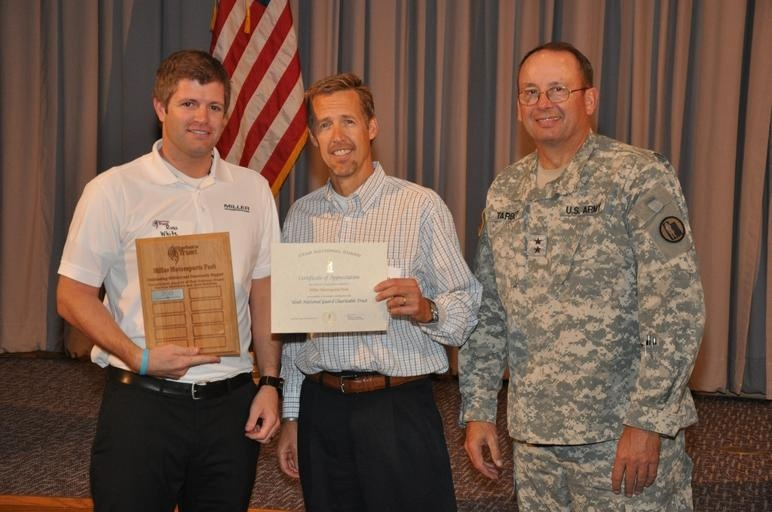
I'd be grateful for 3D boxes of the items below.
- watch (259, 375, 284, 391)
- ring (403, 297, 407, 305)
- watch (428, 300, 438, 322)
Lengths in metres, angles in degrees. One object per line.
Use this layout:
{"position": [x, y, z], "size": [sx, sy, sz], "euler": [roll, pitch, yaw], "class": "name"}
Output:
{"position": [-0.555, 0.605, 3.431], "size": [0.100, 0.067, 0.105], "euler": [0, -26, 10], "class": "watch"}
{"position": [0.085, 0.208, 3.182], "size": [0.022, 0.024, 0.019], "euler": [-2, 0, -9], "class": "ring"}
{"position": [0.225, 0.257, 3.252], "size": [0.029, 0.083, 0.060], "euler": [-10, 5, -14], "class": "watch"}
